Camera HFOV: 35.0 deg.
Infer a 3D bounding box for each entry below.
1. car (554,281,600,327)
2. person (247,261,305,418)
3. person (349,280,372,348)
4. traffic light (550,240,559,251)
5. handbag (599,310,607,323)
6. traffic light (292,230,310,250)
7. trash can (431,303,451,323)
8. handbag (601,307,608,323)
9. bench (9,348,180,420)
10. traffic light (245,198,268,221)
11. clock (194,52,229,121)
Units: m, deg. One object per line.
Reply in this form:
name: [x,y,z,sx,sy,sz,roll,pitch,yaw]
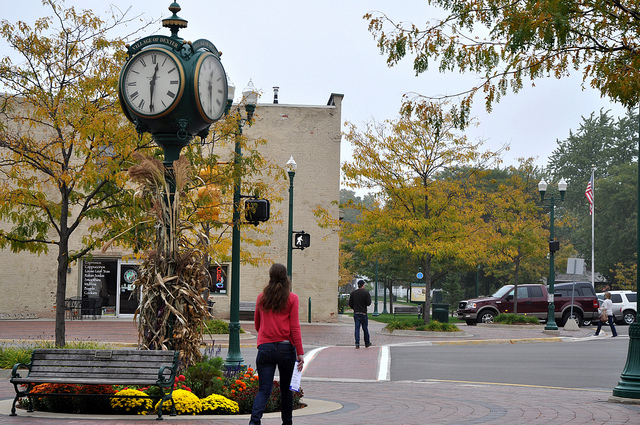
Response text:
car: [11.816,4.111,46.466,2.594,1.358,1.489,2,-4,-4]
person: [-0.928,2.900,23.043,1.104,3.505,0.649,1,-7,-2]
person: [1.397,3.481,35.053,0.717,2.345,1.325,0,-7,3]
traffic light: [9.897,1.374,42.472,0.376,0.465,0.366,-2,4,-23]
handbag: [11.208,4.088,40.151,0.239,0.472,0.593,-2,-7,17]
traffic light: [-0.775,1.077,39.650,0.879,0.919,0.685,0,0,21]
trash can: [5.081,4.175,42.504,0.801,1.152,0.785,1,-7,-10]
handbag: [11.226,4.049,40.149,0.232,0.549,0.588,-2,-8,22]
bench: [-5.096,4.075,24.609,4.985,1.881,1.551,2,-14,7]
traffic light: [-1.714,-0.075,28.100,0.640,0.579,0.329,3,-1,26]
clock: [-2.629,-3.144,25.151,0.464,1.672,1.179,-2,-7,19]
